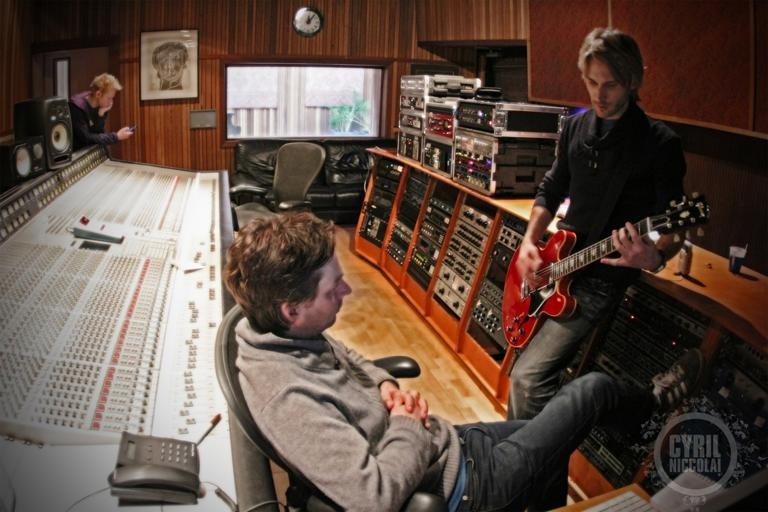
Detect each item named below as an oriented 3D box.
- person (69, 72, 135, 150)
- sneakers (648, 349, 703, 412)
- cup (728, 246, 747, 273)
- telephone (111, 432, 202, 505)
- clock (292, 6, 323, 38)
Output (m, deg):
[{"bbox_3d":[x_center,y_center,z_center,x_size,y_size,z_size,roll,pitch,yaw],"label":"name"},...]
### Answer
[{"bbox_3d":[-3.372,-1.687,5.816,0.765,0.843,0.572,10,13,-14],"label":"person"},{"bbox_3d":[1.450,0.622,2.417,0.125,0.338,0.117,4,44,-19],"label":"sneakers"},{"bbox_3d":[1.868,0.022,2.587,0.092,0.127,0.095,8,14,-2],"label":"cup"},{"bbox_3d":[-0.678,0.633,1.465,0.202,0.082,0.207,7,34,-17],"label":"telephone"},{"bbox_3d":[-1.223,-3.763,7.814,0.440,0.457,0.104,-27,8,-7],"label":"clock"}]
